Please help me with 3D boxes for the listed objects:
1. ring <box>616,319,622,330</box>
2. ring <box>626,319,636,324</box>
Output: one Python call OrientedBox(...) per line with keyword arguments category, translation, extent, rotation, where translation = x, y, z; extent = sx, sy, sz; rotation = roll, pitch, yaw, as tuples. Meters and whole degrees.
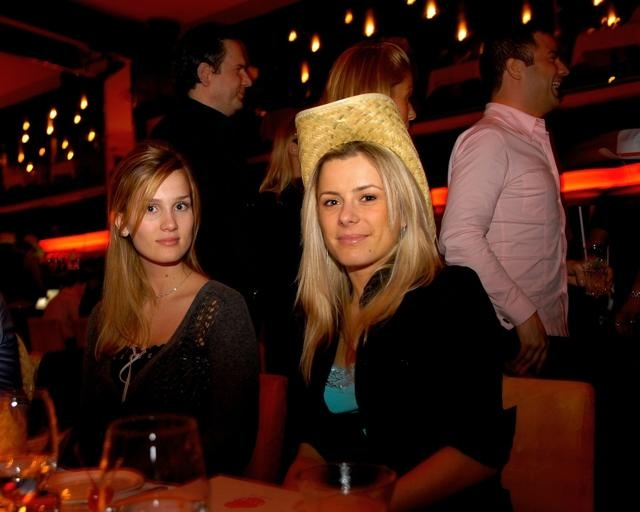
OrientedBox(category="ring", translation=(1.542, 0.352, 2.850), extent=(0.007, 0.028, 0.029), rotation=(16, 16, -29))
OrientedBox(category="ring", translation=(1.606, 0.340, 2.842), extent=(0.046, 0.021, 0.018), rotation=(-2, 4, -13))
